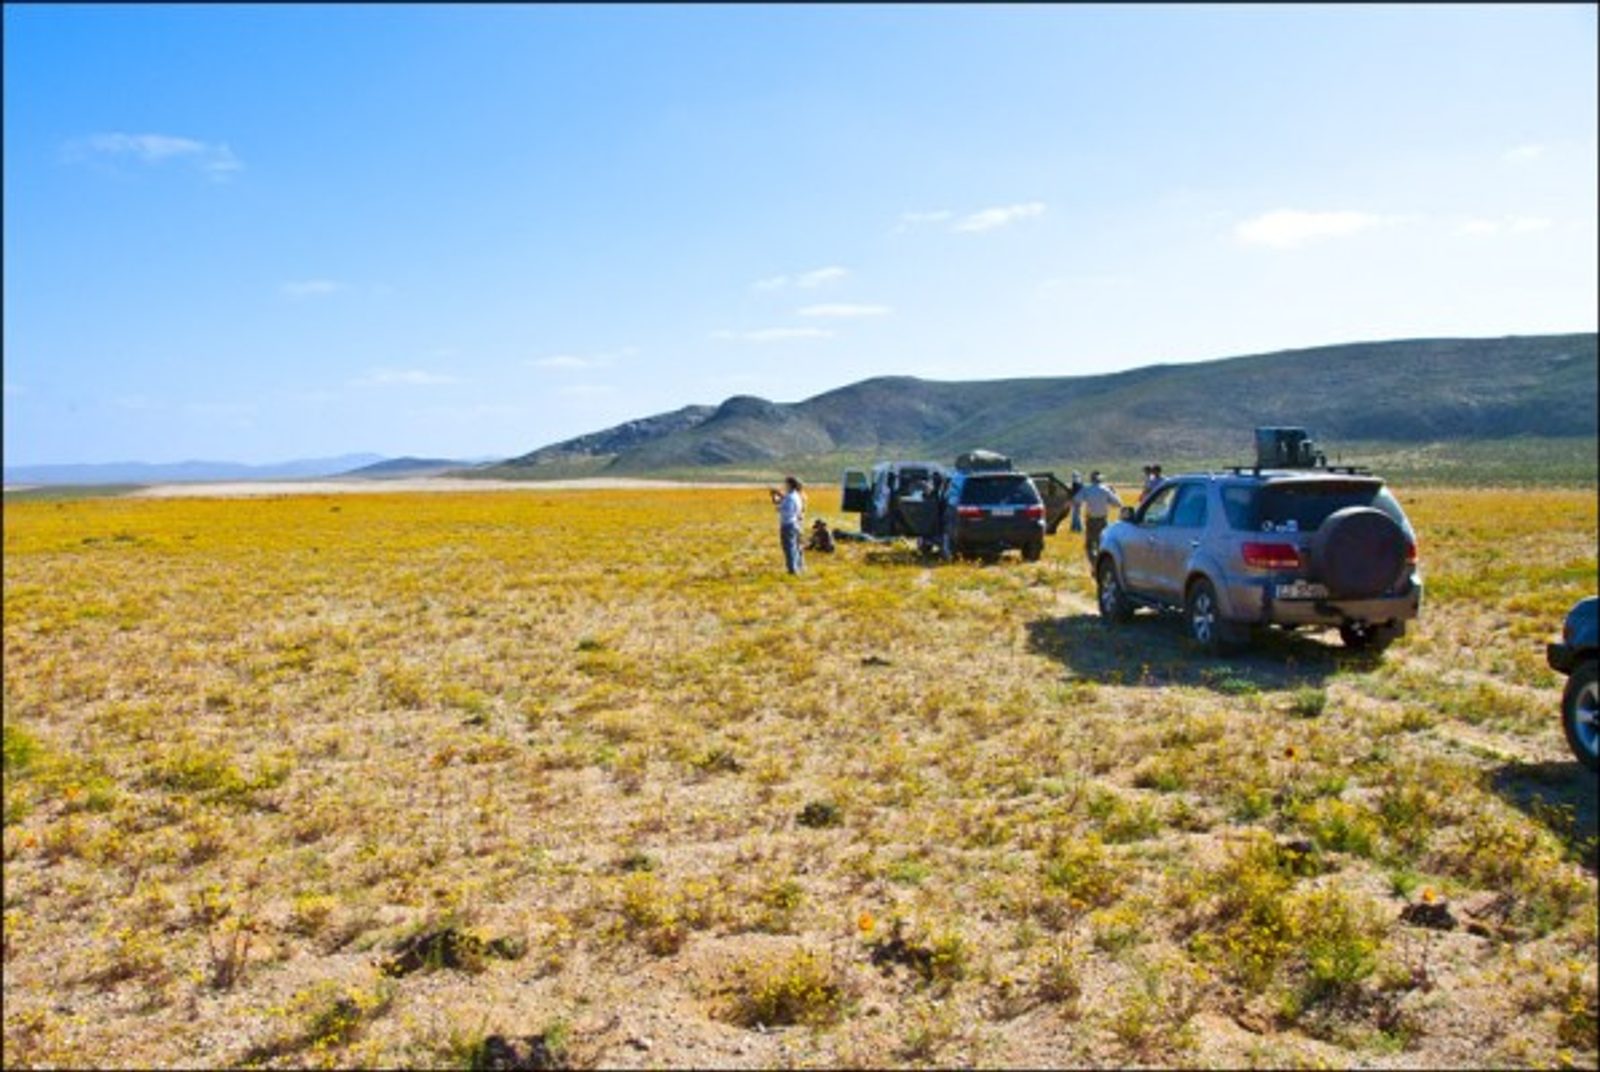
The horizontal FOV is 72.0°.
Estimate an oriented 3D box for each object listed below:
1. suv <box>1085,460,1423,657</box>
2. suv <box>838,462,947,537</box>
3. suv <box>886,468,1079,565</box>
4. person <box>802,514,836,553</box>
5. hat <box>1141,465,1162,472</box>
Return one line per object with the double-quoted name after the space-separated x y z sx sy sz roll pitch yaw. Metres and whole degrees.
6.554 0.193 16.428 2.215 1.884 4.559 0 6 -11 "suv"
2.753 -0.717 31.687 2.329 1.260 2.648 1 13 -2 "suv"
4.214 -0.456 27.592 2.778 1.342 3.659 -1 9 -9 "suv"
0.575 -0.038 32.538 0.928 1.324 1.068 1 2 4 "person"
8.476 -1.586 26.509 0.212 0.192 0.557 6 0 3 "hat"
